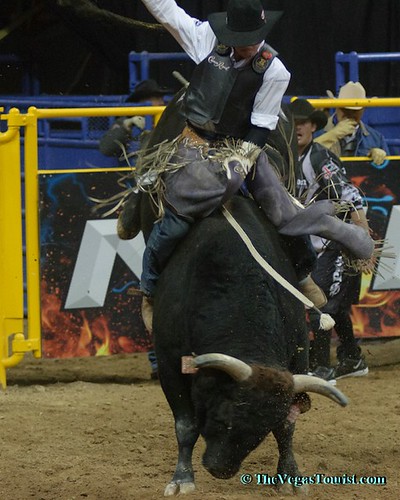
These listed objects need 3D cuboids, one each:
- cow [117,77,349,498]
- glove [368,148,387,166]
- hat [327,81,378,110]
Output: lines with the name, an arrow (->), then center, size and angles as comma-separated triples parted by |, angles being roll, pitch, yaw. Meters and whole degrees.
cow -> 0.174, 0.167, 4.040 | 0.956, 1.219, 2.235 | 3, 50, -10
glove -> 1.490, -0.776, 6.262 | 0.153, 0.131, 0.064 | 2, -9, -1
hat -> 1.412, -1.431, 6.951 | 0.619, 0.193, 0.483 | 1, 38, 3
